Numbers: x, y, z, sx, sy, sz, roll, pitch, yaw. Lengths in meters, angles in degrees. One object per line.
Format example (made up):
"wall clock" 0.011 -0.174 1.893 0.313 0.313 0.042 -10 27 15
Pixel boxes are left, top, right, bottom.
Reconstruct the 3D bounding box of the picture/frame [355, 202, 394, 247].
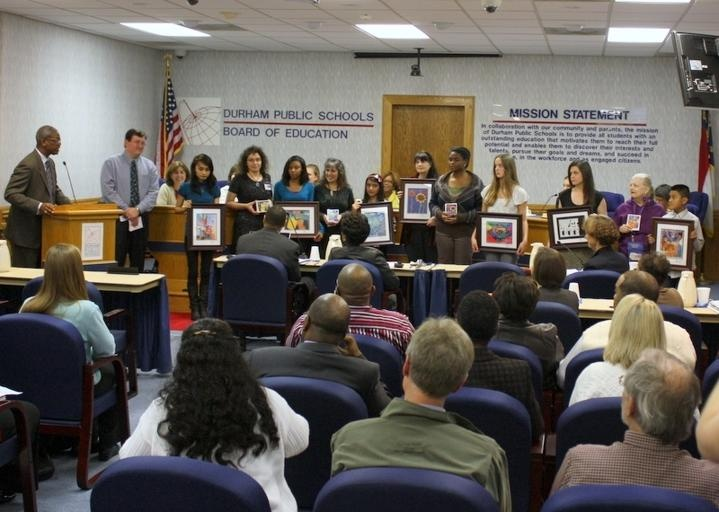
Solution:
"picture/frame" 0.165 -0.326 6.196 0.406 0.488 0.033 -2 -1 -10

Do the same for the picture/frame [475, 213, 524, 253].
"picture/frame" 1.479 -0.246 6.149 0.330 0.339 0.026 2 0 15

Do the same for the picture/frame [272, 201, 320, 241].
"picture/frame" -0.683 -0.380 6.353 0.368 0.324 0.027 0 2 -2

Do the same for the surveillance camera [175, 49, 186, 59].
"surveillance camera" -3.429 -3.866 11.326 0.127 0.114 0.138 2 1 -15

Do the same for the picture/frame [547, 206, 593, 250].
"picture/frame" 2.127 -0.290 5.908 0.447 0.512 0.052 -1 34 28

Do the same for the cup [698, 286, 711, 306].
"cup" 2.825 0.329 4.770 0.139 0.164 0.121 -4 -7 41

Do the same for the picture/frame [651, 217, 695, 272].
"picture/frame" 3.127 -0.111 5.911 0.406 0.613 0.063 6 -21 26

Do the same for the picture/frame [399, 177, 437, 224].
"picture/frame" 0.711 -0.646 7.022 0.448 0.622 0.044 1 -2 7

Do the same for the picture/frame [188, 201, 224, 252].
"picture/frame" -1.723 -0.325 6.653 0.428 0.605 0.039 0 -19 -21

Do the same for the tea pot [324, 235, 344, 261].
"tea pot" -0.269 -0.085 6.125 0.195 0.385 0.246 1 2 -21
